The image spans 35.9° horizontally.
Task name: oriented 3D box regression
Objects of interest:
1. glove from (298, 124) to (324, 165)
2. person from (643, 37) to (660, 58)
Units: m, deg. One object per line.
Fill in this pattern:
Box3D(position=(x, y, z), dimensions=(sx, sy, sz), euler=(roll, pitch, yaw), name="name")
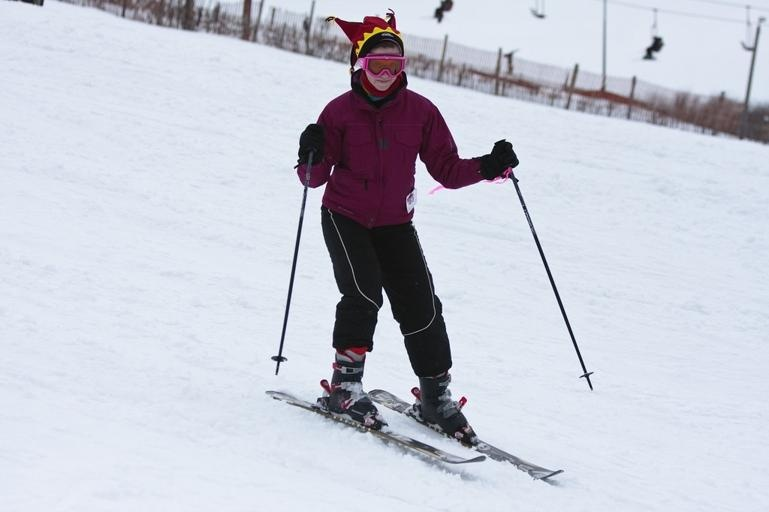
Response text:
Box3D(position=(-0.760, -1.153, 12.446), dimensions=(0.315, 0.390, 0.160), euler=(2, -2, 16), name="glove")
Box3D(position=(5.174, -3.974, 22.723), dimensions=(0.262, 0.384, 0.709), euler=(14, 7, 8), name="person")
